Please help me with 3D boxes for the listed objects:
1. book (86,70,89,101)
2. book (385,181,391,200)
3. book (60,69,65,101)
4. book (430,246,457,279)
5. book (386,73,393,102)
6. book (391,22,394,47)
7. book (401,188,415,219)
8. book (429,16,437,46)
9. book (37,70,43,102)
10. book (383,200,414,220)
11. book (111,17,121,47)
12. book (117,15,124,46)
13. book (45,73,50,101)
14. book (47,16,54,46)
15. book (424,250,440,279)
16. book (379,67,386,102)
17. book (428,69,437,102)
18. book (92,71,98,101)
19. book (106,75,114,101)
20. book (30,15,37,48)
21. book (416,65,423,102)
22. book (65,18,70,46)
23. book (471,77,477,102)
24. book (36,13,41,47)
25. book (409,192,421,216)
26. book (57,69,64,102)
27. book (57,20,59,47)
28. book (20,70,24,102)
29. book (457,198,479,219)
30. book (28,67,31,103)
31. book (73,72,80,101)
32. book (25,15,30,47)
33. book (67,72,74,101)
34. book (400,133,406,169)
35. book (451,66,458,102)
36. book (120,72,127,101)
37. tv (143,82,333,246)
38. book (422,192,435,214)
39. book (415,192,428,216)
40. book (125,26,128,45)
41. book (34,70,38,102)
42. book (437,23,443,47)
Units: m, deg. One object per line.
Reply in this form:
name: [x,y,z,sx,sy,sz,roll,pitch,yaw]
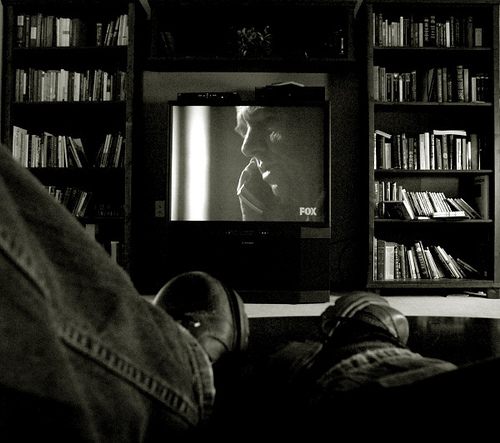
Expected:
book: [-0.847,-0.704,2.970,0.015,0.146,0.042,-1,11,-16]
book: [0.728,-0.156,3.001,0.028,0.092,0.089,0,0,12]
book: [-0.983,-0.706,2.974,0.021,0.154,0.043,0,11,-10]
book: [1.017,0.225,3.014,0.032,0.138,0.139,-31,37,9]
book: [0.728,-0.696,2.964,0.041,0.134,0.025,4,11,10]
book: [0.741,-0.966,2.954,0.014,0.114,0.030,1,11,-4]
book: [0.827,-0.083,2.973,0.016,0.157,0.088,-25,27,18]
book: [0.948,-0.979,2.954,0.037,0.145,0.044,2,11,-2]
book: [-1.102,-0.701,2.973,0.027,0.154,0.056,1,11,-5]
book: [0.768,-0.046,2.949,0.113,0.029,0.106,23,-7,44]
book: [-0.700,-0.977,2.967,0.025,0.209,0.027,8,6,-15]
book: [-0.674,-0.984,2.953,0.030,0.155,0.045,2,11,-1]
book: [-1.061,-0.703,2.982,0.025,0.135,0.033,-2,11,-19]
book: [-1.042,-0.986,2.965,0.031,0.145,0.023,-2,11,-21]
book: [0.960,0.230,3.019,0.026,0.122,0.112,-15,-13,5]
book: [0.691,-0.702,2.949,0.043,0.167,0.068,2,11,2]
book: [0.949,-0.694,2.963,0.027,0.115,0.125,14,55,20]
book: [-0.808,-0.704,2.966,0.024,0.144,0.032,4,11,10]
book: [-0.731,-0.694,2.965,0.034,0.123,0.029,-1,11,-16]
book: [-1.129,-0.985,2.964,0.035,0.149,0.029,1,11,-6]
book: [0.910,-0.738,3.050,0.046,0.188,0.178,5,12,14]
book: [-0.949,-0.978,2.961,0.024,0.137,0.043,-1,11,-15]
book: [1.163,-0.682,2.952,0.025,0.115,0.037,1,11,-3]
book: [-1.103,-0.991,2.969,0.018,0.185,0.134,0,10,-17]
book: [0.861,-0.092,2.997,0.030,0.138,0.018,-21,-10,-1]
book: [-0.991,-0.705,2.974,0.037,0.152,0.038,0,11,-11]
book: [-1.000,-0.977,2.963,0.010,0.128,0.027,-1,11,-17]
book: [-1.193,-0.706,2.977,0.022,0.154,0.038,-1,11,-17]
book: [1.159,-0.058,3.000,0.028,0.168,0.038,-13,-28,-49]
book: [-1.154,-0.708,2.979,0.016,0.157,0.040,-2,11,-19]
book: [-0.907,-0.697,2.967,0.033,0.138,0.049,1,11,-6]
book: [-1.160,-0.986,2.967,0.026,0.154,0.038,-2,11,-19]
book: [-0.939,-0.703,2.977,0.037,0.139,0.030,1,11,-6]
book: [0.797,-0.364,2.960,0.027,0.130,0.123,2,4,12]
book: [1.078,-0.713,3.000,0.029,0.138,0.126,3,7,15]
book: [-0.652,-0.692,2.937,0.035,0.142,0.073,-1,12,-15]
tv: [-0.040,-0.263,2.862,0.804,0.685,0.115,1,-6,-3]
book: [0.936,-0.099,3.027,0.033,0.134,0.036,-18,-8,-20]
book: [0.890,-0.091,2.990,0.023,0.095,0.070,-20,-10,36]
book: [-0.638,-0.956,2.943,0.015,0.096,0.063,0,12,-12]
book: [-1.123,-0.704,2.977,0.020,0.154,0.035,2,11,-1]
book: [0.989,-0.963,2.955,0.034,0.112,0.033,2,11,1]
